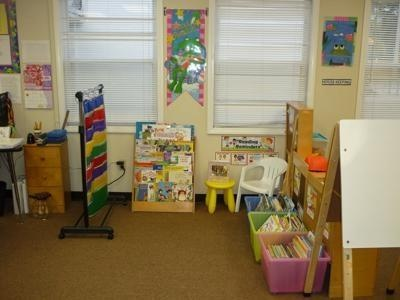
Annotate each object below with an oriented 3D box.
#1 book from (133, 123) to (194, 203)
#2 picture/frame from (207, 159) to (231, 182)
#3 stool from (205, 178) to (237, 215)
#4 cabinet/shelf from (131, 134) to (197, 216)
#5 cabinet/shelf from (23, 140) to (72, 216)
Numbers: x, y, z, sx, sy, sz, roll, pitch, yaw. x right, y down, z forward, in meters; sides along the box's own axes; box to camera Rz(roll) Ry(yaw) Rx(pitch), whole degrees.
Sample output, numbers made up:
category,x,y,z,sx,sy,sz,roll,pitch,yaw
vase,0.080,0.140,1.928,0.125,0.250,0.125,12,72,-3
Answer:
category,x,y,z,sx,sy,sz,roll,pitch,yaw
book,-0.484,0.208,4.456,0.938,1.332,0.139,1,3,2
picture/frame,0.267,0.283,4.593,0.283,0.288,0.024,0,-14,3
stool,0.280,0.591,4.557,0.411,0.427,0.398,2,15,4
cabinet/shelf,-0.486,0.349,4.451,0.965,1.246,0.397,0,3,-2
cabinet/shelf,-2.063,0.245,4.554,0.503,0.943,0.573,0,36,-21
